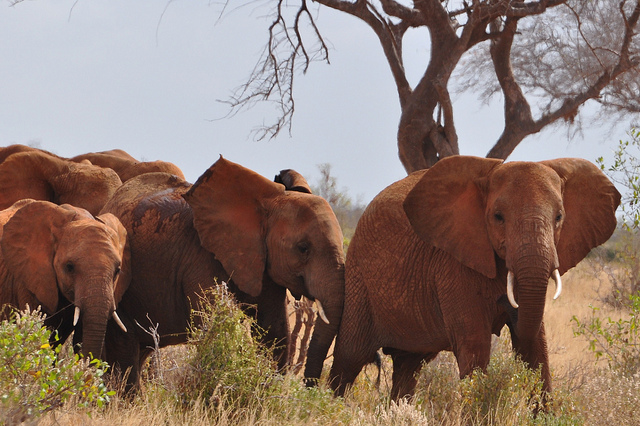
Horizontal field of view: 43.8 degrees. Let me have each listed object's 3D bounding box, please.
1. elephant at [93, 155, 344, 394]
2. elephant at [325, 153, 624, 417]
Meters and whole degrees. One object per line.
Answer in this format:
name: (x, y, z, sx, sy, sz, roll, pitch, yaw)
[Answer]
elephant: (-1.414, 1.038, 10.254, 3.784, 3.067, 2.981, 0, 0, 8)
elephant: (1.552, 1.005, 9.856, 2.152, 2.711, 4.125, 10, -23, -42)
